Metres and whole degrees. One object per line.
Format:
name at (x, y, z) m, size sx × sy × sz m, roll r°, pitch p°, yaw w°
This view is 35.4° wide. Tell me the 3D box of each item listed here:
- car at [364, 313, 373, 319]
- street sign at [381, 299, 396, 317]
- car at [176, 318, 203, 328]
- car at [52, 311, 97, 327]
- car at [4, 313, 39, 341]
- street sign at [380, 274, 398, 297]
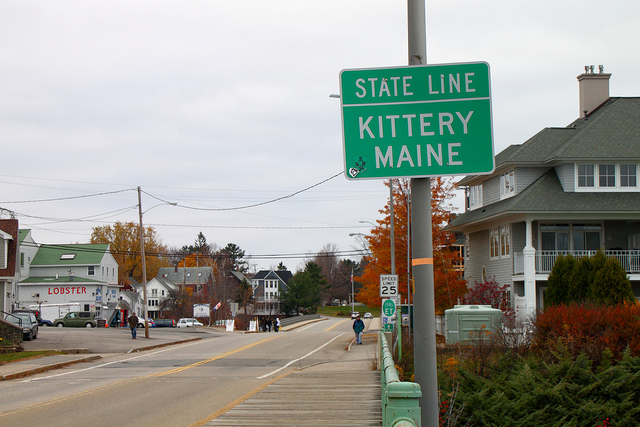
car at (6.042, 12.853, 125.524) m, size 1.120 × 0.807 × 2.451 m, roll 1°, pitch 3°, yaw 6°
street sign at (3.234, 4.418, 46.857) m, size 0.918 × 1.123 × 0.115 m, roll 0°, pitch 0°, yaw 13°
car at (-12.995, 10.880, 99.815) m, size 2.263 × 1.064 × 3.782 m, roll 2°, pitch -12°, yaw -9°
car at (-20.107, 8.846, 83.148) m, size 2.486 × 1.069 × 1.541 m, roll 3°, pitch -7°, yaw -2°
car at (-18.697, 7.154, 63.673) m, size 1.379 × 0.945 × 2.588 m, roll 0°, pitch -12°, yaw -10°
street sign at (3.236, 3.401, 47.069) m, size 1.070 × 1.281 × 0.134 m, roll 0°, pitch 2°, yaw 6°
